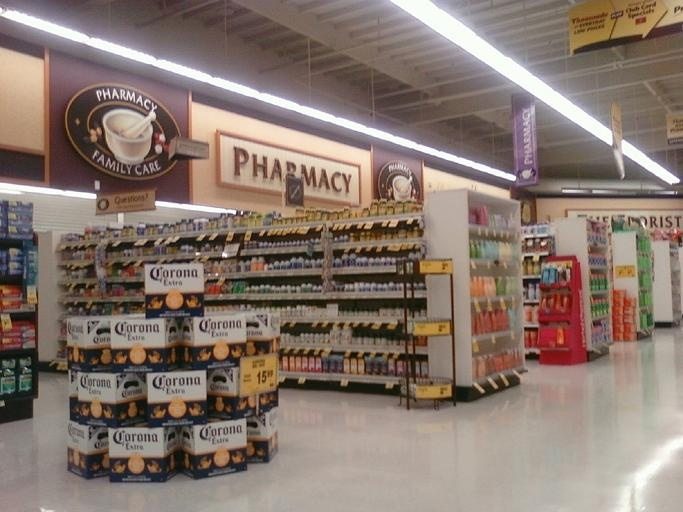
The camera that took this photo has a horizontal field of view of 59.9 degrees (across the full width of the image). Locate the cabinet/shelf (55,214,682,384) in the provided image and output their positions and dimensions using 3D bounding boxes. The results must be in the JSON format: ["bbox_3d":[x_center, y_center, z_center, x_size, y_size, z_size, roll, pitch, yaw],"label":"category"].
[{"bbox_3d":[-2.172,0.694,10.356,8.386,2.905,1.049,-3,-3,31],"label":"cabinet/shelf"}]
